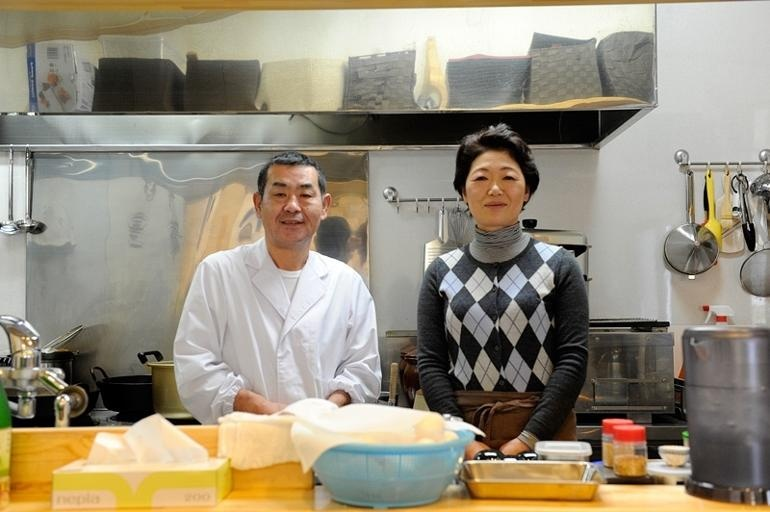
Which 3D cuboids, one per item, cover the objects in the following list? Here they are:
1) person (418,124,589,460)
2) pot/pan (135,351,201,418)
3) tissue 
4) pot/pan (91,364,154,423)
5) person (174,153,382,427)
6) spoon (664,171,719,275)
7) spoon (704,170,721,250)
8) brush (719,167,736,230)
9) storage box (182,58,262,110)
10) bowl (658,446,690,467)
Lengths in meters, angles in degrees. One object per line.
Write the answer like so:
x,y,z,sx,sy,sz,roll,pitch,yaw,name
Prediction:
0.377,0.080,2.245,0.540,1.023,0.347,0,0,2,person
-0.922,0.568,3.015,0.403,0.278,0.259,0,-7,-4,pot/pan
-0.614,0.543,1.772,0.336,0.159,0.239,1,-8,-10,tissue 
-1.108,0.595,3.093,0.324,0.203,0.255,-2,-5,16,pot/pan
-0.369,0.102,2.495,0.728,0.952,0.377,0,0,-16,person
1.459,-0.141,3.325,0.262,0.479,0.072,-3,-7,9,spoon
1.575,-0.225,3.344,0.136,0.287,0.062,0,0,-37,spoon
1.648,-0.261,3.360,0.008,0.288,0.070,-4,6,-24,brush
-0.613,-0.651,2.703,0.281,0.180,0.156,1,1,-1,storage box
0.805,0.552,1.963,0.065,0.036,0.062,1,-1,0,bowl
